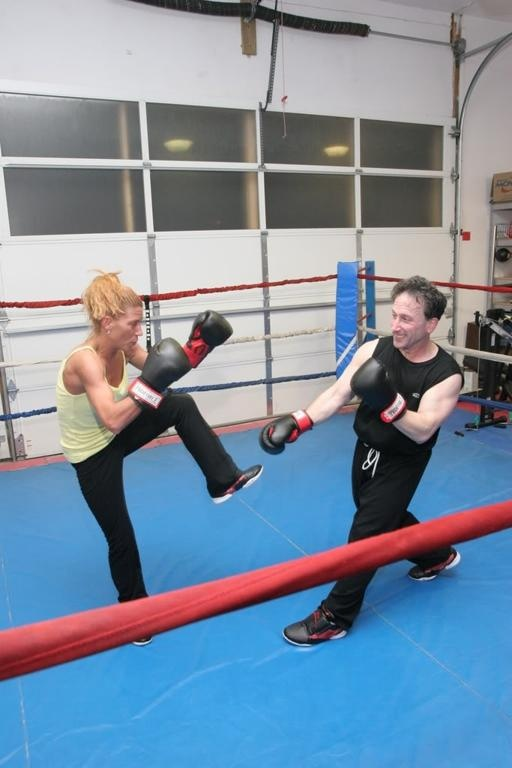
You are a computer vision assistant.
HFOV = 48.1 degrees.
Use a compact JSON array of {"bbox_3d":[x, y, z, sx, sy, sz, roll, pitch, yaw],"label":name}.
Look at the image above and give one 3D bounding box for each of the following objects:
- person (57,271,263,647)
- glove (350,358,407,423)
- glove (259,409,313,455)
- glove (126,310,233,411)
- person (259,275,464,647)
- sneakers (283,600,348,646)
[{"bbox_3d":[-0.330,0.135,1.990,0.536,1.053,0.745,8,29,42],"label":"person"},{"bbox_3d":[0.359,0.030,1.639,0.078,0.201,0.123,-39,52,9],"label":"glove"},{"bbox_3d":[0.105,0.155,1.894,0.123,0.074,0.161,34,67,28],"label":"glove"},{"bbox_3d":[-0.238,-0.074,1.862,0.415,0.232,0.150,-55,16,-21],"label":"glove"},{"bbox_3d":[0.434,0.236,1.965,0.491,1.173,0.740,7,15,41],"label":"person"},{"bbox_3d":[0.203,0.793,1.948,0.253,0.104,0.097,-3,9,-11],"label":"sneakers"}]
